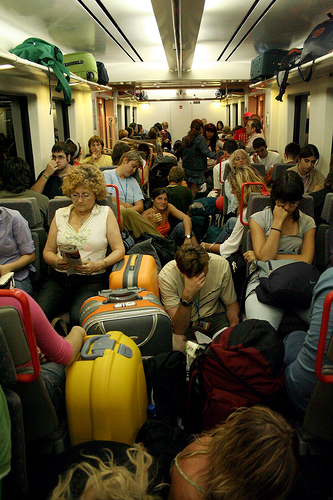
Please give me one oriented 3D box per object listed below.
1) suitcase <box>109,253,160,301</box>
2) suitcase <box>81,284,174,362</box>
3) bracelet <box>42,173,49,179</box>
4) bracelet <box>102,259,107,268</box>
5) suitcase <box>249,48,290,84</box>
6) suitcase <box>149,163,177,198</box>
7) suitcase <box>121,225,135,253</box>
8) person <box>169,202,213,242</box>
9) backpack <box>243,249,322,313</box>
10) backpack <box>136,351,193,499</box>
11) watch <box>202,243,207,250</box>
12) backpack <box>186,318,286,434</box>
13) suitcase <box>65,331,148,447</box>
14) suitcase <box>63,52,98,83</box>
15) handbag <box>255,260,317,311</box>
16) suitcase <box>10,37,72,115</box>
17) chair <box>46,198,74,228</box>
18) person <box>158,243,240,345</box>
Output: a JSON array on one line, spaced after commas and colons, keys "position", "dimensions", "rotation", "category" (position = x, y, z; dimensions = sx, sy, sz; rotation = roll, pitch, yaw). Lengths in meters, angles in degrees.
[{"position": [-0.272, 0.150, 2.728], "dimensions": [0.291, 0.315, 0.415], "rotation": [0, 16, 5], "category": "suitcase"}, {"position": [-0.265, 0.533, 2.197], "dimensions": [0.567, 0.549, 0.549], "rotation": [-4, 20, -4], "category": "suitcase"}, {"position": [-1.778, -1.064, 4.892], "dimensions": [0.080, 0.080, 0.075], "rotation": [-7, 16, -11], "category": "bracelet"}, {"position": [-0.530, 0.123, 2.851], "dimensions": [0.032, 0.080, 0.058], "rotation": [-8, 17, -16], "category": "bracelet"}, {"position": [2.482, -4.220, 8.241], "dimensions": [0.739, 0.769, 1.060], "rotation": [-6, 27, 2], "category": "suitcase"}, {"position": [-0.185, -1.728, 8.030], "dimensions": [0.675, 0.632, 0.572], "rotation": [-1, 16, 10], "category": "suitcase"}, {"position": [-0.425, -0.127, 3.686], "dimensions": [0.135, 0.236, 0.509], "rotation": [-5, 17, -6], "category": "suitcase"}, {"position": [0.304, -0.467, 5.382], "dimensions": [0.468, 0.688, 0.716], "rotation": [14, 15, 30], "category": "person"}, {"position": [0.803, 0.233, 2.386], "dimensions": [0.430, 0.356, 0.518], "rotation": [0, 17, 11], "category": "backpack"}, {"position": [-0.003, 0.783, 1.531], "dimensions": [0.308, 0.629, 0.411], "rotation": [-3, 9, -1], "category": "backpack"}, {"position": [0.427, -0.040, 3.840], "dimensions": [0.035, 0.020, 0.067], "rotation": [8, 44, -7], "category": "watch"}, {"position": [0.338, 0.530, 1.678], "dimensions": [0.456, 0.667, 0.481], "rotation": [2, 15, 17], "category": "backpack"}, {"position": [-0.279, 0.668, 1.588], "dimensions": [0.301, 0.564, 0.381], "rotation": [-4, 7, 10], "category": "suitcase"}, {"position": [-2.036, -4.093, 7.755], "dimensions": [0.782, 0.735, 0.473], "rotation": [-10, 4, 0], "category": "suitcase"}, {"position": [0.925, 0.161, 2.383], "dimensions": [0.444, 0.221, 0.598], "rotation": [-3, 19, 23], "category": "handbag"}, {"position": [-2.150, -2.988, 5.639], "dimensions": [1.041, 0.962, 0.831], "rotation": [6, 16, -5], "category": "suitcase"}, {"position": [-0.944, -0.328, 2.988], "dimensions": [0.172, 0.315, 0.330], "rotation": [2, 4, 16], "category": "chair"}, {"position": [0.259, 0.333, 2.564], "dimensions": [0.542, 0.840, 0.628], "rotation": [-11, 38, -2], "category": "person"}]
